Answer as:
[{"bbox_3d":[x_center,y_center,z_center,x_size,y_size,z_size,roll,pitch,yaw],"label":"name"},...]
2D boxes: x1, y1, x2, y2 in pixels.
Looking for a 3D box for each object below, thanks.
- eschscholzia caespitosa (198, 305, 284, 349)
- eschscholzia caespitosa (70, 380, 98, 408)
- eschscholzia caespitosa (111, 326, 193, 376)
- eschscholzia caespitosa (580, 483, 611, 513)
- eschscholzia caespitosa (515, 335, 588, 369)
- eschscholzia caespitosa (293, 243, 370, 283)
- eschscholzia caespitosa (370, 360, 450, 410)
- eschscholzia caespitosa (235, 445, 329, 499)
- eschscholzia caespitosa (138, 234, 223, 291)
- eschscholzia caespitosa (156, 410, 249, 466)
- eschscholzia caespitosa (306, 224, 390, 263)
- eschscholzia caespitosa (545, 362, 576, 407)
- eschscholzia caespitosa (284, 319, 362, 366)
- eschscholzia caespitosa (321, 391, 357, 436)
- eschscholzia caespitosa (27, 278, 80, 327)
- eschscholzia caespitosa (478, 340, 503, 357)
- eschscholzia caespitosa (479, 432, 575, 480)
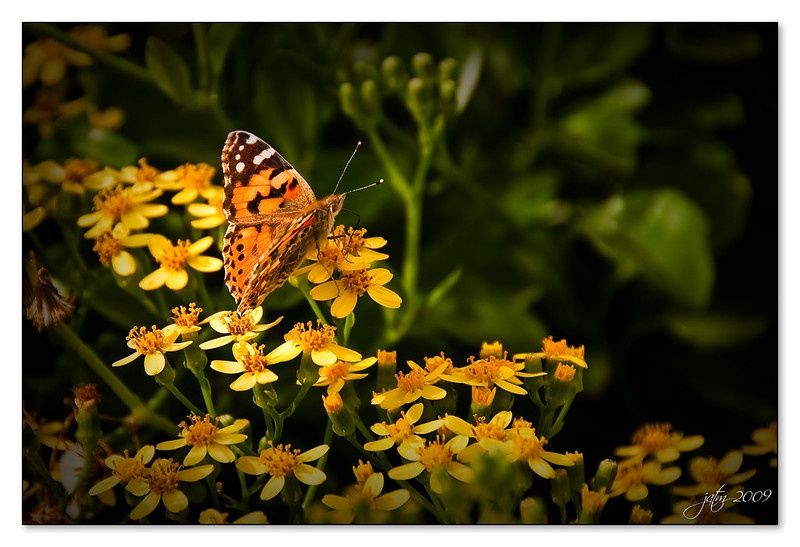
[{"bbox_3d":[-0.414,0.131,2.204,0.237,0.076,0.250,-5,12,-13],"label":"eschscholzia caespitosa"},{"bbox_3d":[-0.858,0.331,2.271,0.060,0.069,0.025,-8,-10,11],"label":"eschscholzia caespitosa"},{"bbox_3d":[-0.642,0.207,2.208,0.190,0.125,0.209,0,7,7],"label":"eschscholzia caespitosa"},{"bbox_3d":[0.528,0.604,2.272,0.069,0.078,0.075,-1,-3,0],"label":"eschscholzia caespitosa"},{"bbox_3d":[0.415,0.199,2.218,0.108,0.042,0.111,8,-3,-14],"label":"eschscholzia caespitosa"},{"bbox_3d":[-0.179,-0.036,2.192,0.209,0.074,0.240,-9,-11,-8],"label":"eschscholzia caespitosa"},{"bbox_3d":[0.037,0.287,2.173,0.254,0.085,0.213,-5,-4,-34],"label":"eschscholzia caespitosa"},{"bbox_3d":[-0.304,0.506,2.182,0.167,0.170,0.085,13,48,-19],"label":"eschscholzia caespitosa"},{"bbox_3d":[-0.603,-0.037,2.269,0.217,0.084,0.236,3,33,-7],"label":"eschscholzia caespitosa"},{"bbox_3d":[-0.523,0.439,2.203,0.254,0.129,0.095,2,23,13],"label":"eschscholzia caespitosa"},{"bbox_3d":[-0.145,-0.093,2.223,0.195,0.059,0.204,-13,6,-15],"label":"eschscholzia caespitosa"},{"bbox_3d":[0.425,0.293,2.205,0.082,0.107,0.053,0,22,8],"label":"eschscholzia caespitosa"},{"bbox_3d":[-0.212,0.168,2.216,0.220,0.079,0.193,12,14,28],"label":"eschscholzia caespitosa"},{"bbox_3d":[-0.166,0.365,2.173,0.108,0.120,0.044,13,27,34],"label":"eschscholzia caespitosa"},{"bbox_3d":[-0.965,0.098,2.355,0.121,0.136,0.075,-31,-4,-6],"label":"eschscholzia caespitosa"},{"bbox_3d":[0.246,0.202,2.224,0.068,0.044,0.061,-3,22,1],"label":"eschscholzia caespitosa"},{"bbox_3d":[0.343,0.461,2.198,0.202,0.075,0.219,-3,9,-3],"label":"eschscholzia caespitosa"}]
